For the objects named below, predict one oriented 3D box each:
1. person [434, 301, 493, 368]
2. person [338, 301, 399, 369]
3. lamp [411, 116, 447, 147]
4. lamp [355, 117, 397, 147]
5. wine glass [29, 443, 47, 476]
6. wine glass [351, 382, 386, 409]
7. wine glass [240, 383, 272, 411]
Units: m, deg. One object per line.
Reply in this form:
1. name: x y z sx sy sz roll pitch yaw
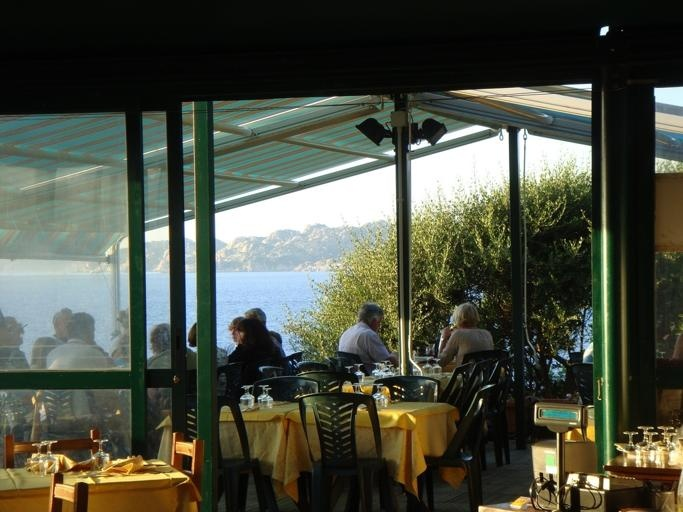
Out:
1. person: 1.330 1.076 8.856 0.544 1.132 0.586 -1 -10 -4
2. person: 0.299 0.964 8.772 0.582 0.913 0.496 -3 -11 36
3. lamp: 0.903 -1.309 8.719 0.336 0.269 0.239 -24 -15 30
4. lamp: 0.366 -1.315 8.713 0.376 0.351 0.531 -3 -6 3
5. wine glass: -1.812 1.219 4.990 0.117 0.205 0.118 3 -9 -5
6. wine glass: 0.232 1.118 6.675 0.238 0.257 0.157 -1 -2 5
7. wine glass: -0.703 1.172 6.912 0.263 0.188 0.104 0 -1 29
